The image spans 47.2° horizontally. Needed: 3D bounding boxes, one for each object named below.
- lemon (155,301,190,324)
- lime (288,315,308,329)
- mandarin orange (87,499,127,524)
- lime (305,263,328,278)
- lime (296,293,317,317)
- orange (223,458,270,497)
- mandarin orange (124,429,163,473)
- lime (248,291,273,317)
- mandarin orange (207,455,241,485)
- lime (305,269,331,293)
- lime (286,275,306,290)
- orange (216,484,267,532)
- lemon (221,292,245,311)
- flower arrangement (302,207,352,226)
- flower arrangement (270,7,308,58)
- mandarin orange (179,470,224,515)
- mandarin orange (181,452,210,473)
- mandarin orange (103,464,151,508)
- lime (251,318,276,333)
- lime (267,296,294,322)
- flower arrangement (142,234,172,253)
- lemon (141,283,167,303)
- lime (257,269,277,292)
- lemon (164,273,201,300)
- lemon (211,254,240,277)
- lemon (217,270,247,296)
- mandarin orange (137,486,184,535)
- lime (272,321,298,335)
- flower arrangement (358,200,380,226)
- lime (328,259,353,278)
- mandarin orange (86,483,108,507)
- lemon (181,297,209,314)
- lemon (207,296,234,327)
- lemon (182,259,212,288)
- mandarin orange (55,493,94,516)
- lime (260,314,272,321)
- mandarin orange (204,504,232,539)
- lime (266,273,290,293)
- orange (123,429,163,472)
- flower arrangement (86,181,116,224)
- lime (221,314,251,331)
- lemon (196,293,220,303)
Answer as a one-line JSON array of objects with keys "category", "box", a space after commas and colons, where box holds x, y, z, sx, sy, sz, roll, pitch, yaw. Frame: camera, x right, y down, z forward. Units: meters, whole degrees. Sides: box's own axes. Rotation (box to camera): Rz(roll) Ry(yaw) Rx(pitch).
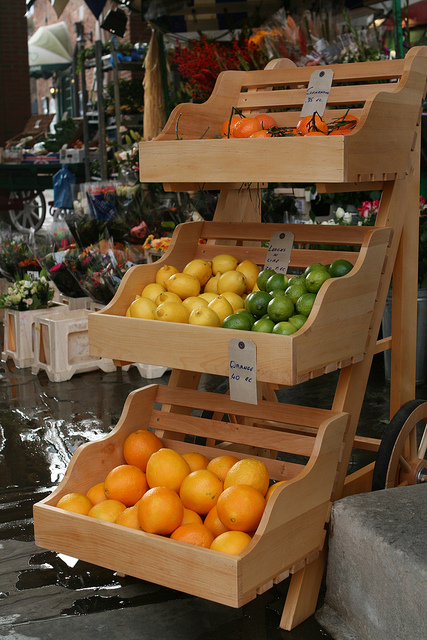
[{"category": "lemon", "box": [-0.105, -0.017, 1.304, 0.077, 0.047, 0.053, 16, -1, -36]}, {"category": "lime", "box": [0.194, 0.011, 1.142, 0.038, 0.032, 0.031, -25, -15, 21]}, {"category": "mandarin orange", "box": [-0.260, 0.474, 1.219, 0.053, 0.039, 0.049, -4, -5, -4]}, {"category": "lime", "box": [0.279, -0.131, 1.336, 0.044, 0.050, 0.041, 1, 28, -27]}, {"category": "lime", "box": [0.224, -0.038, 1.185, 0.046, 0.049, 0.099, -6, 9, 8]}, {"category": "orange", "box": [0.085, 0.375, 1.175, 0.095, 0.110, 0.089, 10, -3, -20]}, {"category": "mandarin orange", "box": [-0.210, 0.376, 1.441, 0.120, 0.137, 0.115, 0, -1, 4]}, {"category": "lime", "box": [0.117, -0.044, 1.269, 0.063, 0.063, 0.076, 7, 24, 12]}, {"category": "mandarin orange", "box": [0.025, 0.404, 1.310, 0.062, 0.070, 0.059, -1, -16, 0]}, {"category": "lime", "box": [0.259, -0.101, 1.244, 0.066, 0.050, 0.049, -3, -2, -36]}, {"category": "lime", "box": [0.237, -0.112, 1.365, 0.039, 0.046, 0.039, -19, 42, -26]}, {"category": "orange", "box": [0.063, 0.421, 1.070, 0.106, 0.105, 0.066, -8, 9, -4]}, {"category": "lemon", "box": [0.055, -0.053, 1.398, 0.053, 0.060, 0.050, -2, 4, -1]}, {"category": "flower arrangement", "box": [0.971, -0.888, 4.142, 0.291, 0.172, 0.956, -5, 9, 11]}, {"category": "flower arrangement", "box": [0.697, -2.575, 4.447, 0.229, 0.641, 0.389, 4, 15, 24]}, {"category": "mandarin orange", "box": [-0.030, 0.441, 1.249, 0.099, 0.112, 0.099, -7, -1, -26]}, {"category": "mandarin orange", "box": [-0.051, 0.402, 1.387, 0.047, 0.045, 0.055, 25, 16, 16]}, {"category": "mandarin orange", "box": [-0.229, 0.439, 1.300, 0.124, 0.102, 0.106, 2, 6, -4]}, {"category": "lime", "box": [0.118, 0.021, 1.176, 0.038, 0.045, 0.036, 20, -8, -13]}, {"category": "lime", "box": [0.162, -0.025, 1.189, 0.064, 0.061, 0.039, -4, 10, 15]}, {"category": "flower arrangement", "box": [-0.498, -0.710, 4.530, 0.197, 0.157, 0.461, -11, 10, -23]}, {"category": "lemon", "box": [-0.185, -0.084, 1.512, 0.059, 0.066, 0.056, -3, -6, -3]}, {"category": "lime", "box": [0.164, -0.116, 1.430, 0.058, 0.069, 0.058, -2, -28, 16]}, {"category": "lemon", "box": [-0.098, -0.107, 1.496, 0.096, 0.070, 0.069, 9, 18, -15]}, {"category": "lemon", "box": [0.043, -0.177, 1.620, 0.080, 0.061, 0.060, -6, -14, 0]}, {"category": "lemon", "box": [0.054, -0.110, 1.492, 0.086, 0.072, 0.051, -7, 9, 0]}, {"category": "mandarin orange", "box": [-0.132, 0.430, 1.129, 0.101, 0.118, 0.101, -4, -33, -6]}, {"category": "lime", "box": [0.157, 0.020, 1.086, 0.034, 0.032, 0.032, -7, -4, -3]}, {"category": "flower arrangement", "box": [1.132, -0.783, 3.566, 0.140, 0.171, 0.315, -4, 10, 18]}, {"category": "lime", "box": [0.331, -0.134, 1.280, 0.059, 0.056, 0.054, -1, -3, 4]}, {"category": "mandarin orange", "box": [-0.312, 0.475, 1.344, 0.048, 0.057, 0.048, 34, 7, -16]}, {"category": "lemon", "box": [-0.052, -0.048, 1.363, 0.048, 0.056, 0.048, -5, 15, -12]}, {"category": "lemon", "box": [0.027, -0.027, 1.316, 0.069, 0.084, 0.070, 14, 11, 0]}, {"category": "lemon", "box": [-0.050, -0.147, 1.567, 0.062, 0.066, 0.096, -6, 27, 34]}, {"category": "mandarin orange", "box": [-0.347, 0.464, 1.231, 0.058, 0.055, 0.054, -20, 11, -17]}, {"category": "lime", "box": [0.134, -0.007, 1.243, 0.014, 0.016, 0.014, -2, 22, 19]}, {"category": "mandarin orange", "box": [0.004, 0.474, 1.169, 0.069, 0.081, 0.068, 4, 4, 0]}, {"category": "lime", "box": [0.176, -0.104, 1.351, 0.051, 0.062, 0.052, 8, -12, 27]}, {"category": "orange", "box": [-0.210, 0.378, 1.504, 0.115, 0.112, 0.138, 7, 15, 34]}, {"category": "flower arrangement", "box": [-1.092, -1.186, 4.990, 0.331, 0.450, 0.143, -10, 49, -8]}, {"category": "lime", "box": [0.055, 0.009, 1.169, 0.069, 0.039, 0.064, -7, 9, 2]}, {"category": "lemon", "box": [-0.015, -0.065, 1.435, 0.036, 0.041, 0.035, -1, 5, 3]}]
